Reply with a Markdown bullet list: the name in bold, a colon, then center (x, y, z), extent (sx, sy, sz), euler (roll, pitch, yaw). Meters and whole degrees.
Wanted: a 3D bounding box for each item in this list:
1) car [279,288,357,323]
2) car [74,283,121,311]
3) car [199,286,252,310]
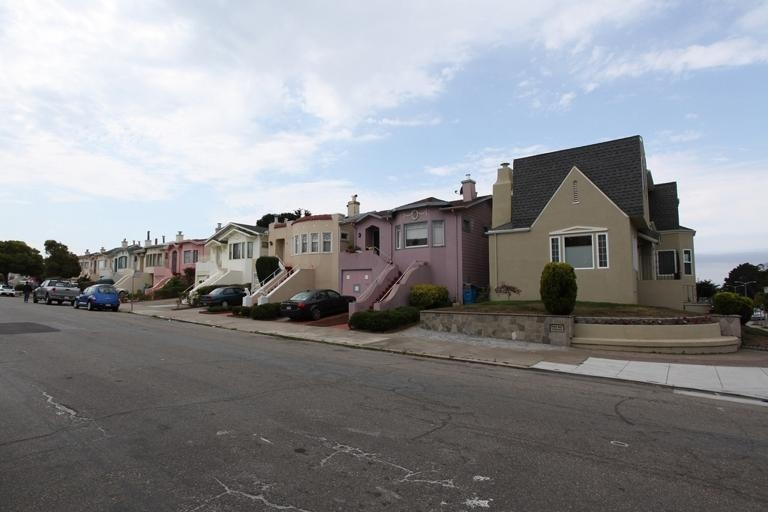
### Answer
- **car**: center (-3.547, 2.662, 25.711), extent (1.361, 1.396, 3.536), euler (8, 10, 39)
- **car**: center (-18.991, 2.763, 31.673), extent (1.594, 1.194, 2.915), euler (4, -3, -44)
- **car**: center (-10.502, 2.791, 32.318), extent (1.535, 1.031, 3.339), euler (0, 2, 35)
